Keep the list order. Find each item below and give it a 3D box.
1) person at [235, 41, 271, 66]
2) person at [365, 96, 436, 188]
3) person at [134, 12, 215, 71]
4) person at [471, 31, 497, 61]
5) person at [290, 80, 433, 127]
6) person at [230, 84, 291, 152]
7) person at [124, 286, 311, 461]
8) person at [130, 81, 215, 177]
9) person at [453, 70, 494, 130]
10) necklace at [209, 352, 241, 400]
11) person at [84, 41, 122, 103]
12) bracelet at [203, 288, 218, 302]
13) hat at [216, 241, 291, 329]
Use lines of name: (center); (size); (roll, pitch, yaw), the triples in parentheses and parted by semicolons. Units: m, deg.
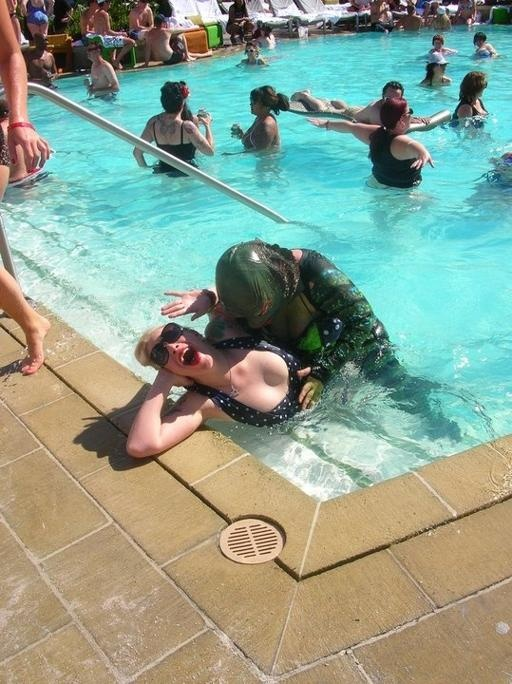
person: (-0.050, -7.149, 13.913); (0.637, 0.458, 0.966); (14, 52, 17)
person: (1.548, -2.126, 6.170); (0.736, 0.951, 0.621); (9, 28, 21)
person: (-2.164, -8.058, 15.182); (0.673, 1.123, 2.099); (20, 37, 29)
person: (5.542, -7.115, 13.713); (0.548, 0.576, 1.372); (7, 26, 19)
person: (1.426, -3.332, 8.225); (1.833, 0.581, 1.290); (6, 39, 12)
person: (0.132, -2.949, 7.546); (0.530, 0.809, 0.520); (-7, 27, -11)
person: (-0.134, 0.166, 2.675); (0.665, 0.246, 0.759); (27, 50, -19)
person: (-1.016, -2.544, 7.018); (0.894, 1.179, 0.654); (-16, 42, -20)
person: (3.118, -3.508, 8.261); (0.486, 0.734, 0.679); (6, 27, 17)
necklace: (-0.118, 0.164, 2.654); (0.146, 0.185, 0.049); (-32, 21, -28)
person: (-3.191, -5.613, 11.789); (0.635, 1.061, 1.060); (-8, 26, -13)
bracelet: (-0.233, -0.249, 2.963); (0.065, 0.029, 0.079); (30, 20, -15)
hat: (0.068, -0.311, 2.697); (0.325, 0.350, 0.414); (-3, 44, 12)
